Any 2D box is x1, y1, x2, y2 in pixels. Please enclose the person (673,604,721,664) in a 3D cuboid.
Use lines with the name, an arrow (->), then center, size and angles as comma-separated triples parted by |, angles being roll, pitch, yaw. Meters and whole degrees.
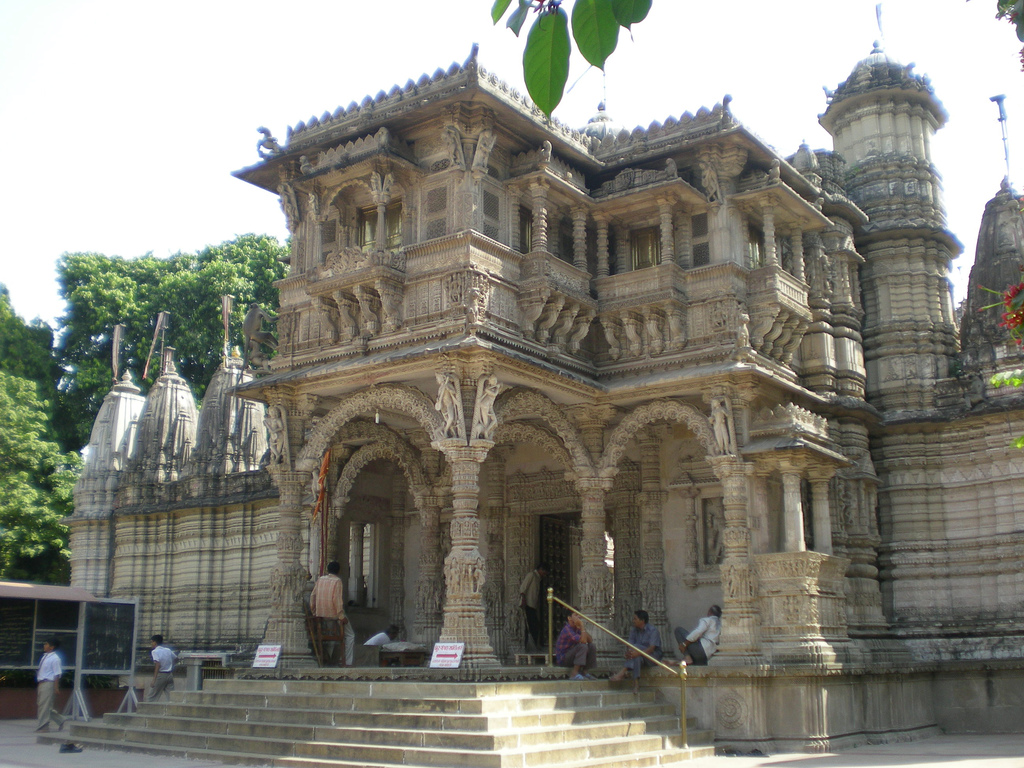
person -> 3.086, 4.110, 19.638 | 0.721, 0.937, 0.307 | 0, -20, -1

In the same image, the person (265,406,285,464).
person -> -4.256, 0.921, 21.646 | 0.315, 1.056, 0.705 | 10, -22, -27

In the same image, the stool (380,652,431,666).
stool -> -1.900, 4.753, 20.771 | 0.767, 0.243, 0.496 | 0, -19, -4

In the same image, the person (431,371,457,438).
person -> -1.051, 0.367, 19.539 | 0.356, 1.015, 0.509 | 0, -20, -4

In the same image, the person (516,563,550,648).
person -> 0.390, 4.242, 22.775 | 0.494, 1.569, 0.756 | -1, -20, 1

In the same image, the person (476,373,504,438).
person -> -0.384, 0.378, 19.630 | 0.370, 1.029, 0.521 | -16, -24, 35

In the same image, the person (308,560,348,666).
person -> -3.184, 4.051, 20.645 | 0.616, 1.480, 0.566 | 0, -20, -2

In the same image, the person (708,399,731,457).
person -> 3.491, 0.721, 20.146 | 0.361, 0.954, 0.189 | -8, -21, 20

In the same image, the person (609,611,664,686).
person -> 2.003, 4.257, 19.426 | 0.772, 1.173, 1.996 | -2, -19, 4

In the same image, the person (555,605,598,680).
person -> 1.050, 4.325, 19.612 | 0.566, 1.043, 1.318 | -4, -20, 9
